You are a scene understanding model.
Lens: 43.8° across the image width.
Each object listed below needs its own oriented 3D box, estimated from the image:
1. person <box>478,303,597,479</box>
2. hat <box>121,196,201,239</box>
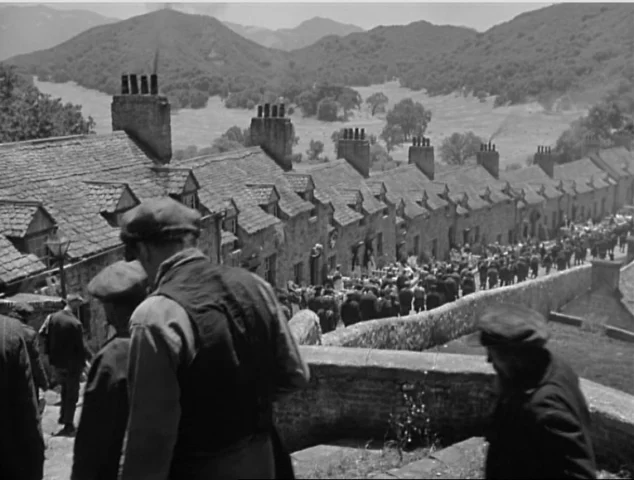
[{"bbox_3d":[1.606,1.107,5.780,0.788,1.167,0.606,-1,6,11],"label":"person"},{"bbox_3d":[-1.102,-0.158,5.725,0.323,0.269,0.412,5,10,36],"label":"hat"}]
